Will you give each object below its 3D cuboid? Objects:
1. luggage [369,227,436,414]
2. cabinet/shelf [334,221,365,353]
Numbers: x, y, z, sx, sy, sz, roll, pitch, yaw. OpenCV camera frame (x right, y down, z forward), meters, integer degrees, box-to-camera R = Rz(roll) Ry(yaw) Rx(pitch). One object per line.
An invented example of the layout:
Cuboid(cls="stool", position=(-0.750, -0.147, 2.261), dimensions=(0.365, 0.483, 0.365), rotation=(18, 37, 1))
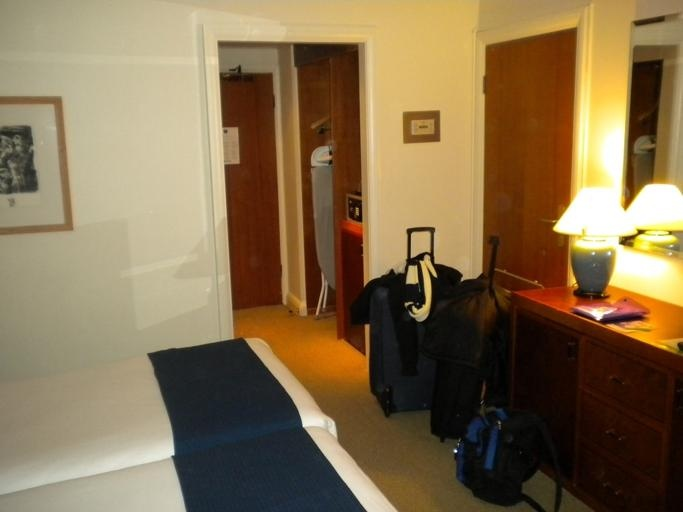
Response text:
Cuboid(cls="luggage", position=(0.420, 0.469, 3.905), dimensions=(0.476, 1.293, 0.391), rotation=(1, 14, 10))
Cuboid(cls="cabinet/shelf", position=(0.076, 0.255, 4.899), dimensions=(0.121, 1.124, 0.498), rotation=(-7, 15, -23))
